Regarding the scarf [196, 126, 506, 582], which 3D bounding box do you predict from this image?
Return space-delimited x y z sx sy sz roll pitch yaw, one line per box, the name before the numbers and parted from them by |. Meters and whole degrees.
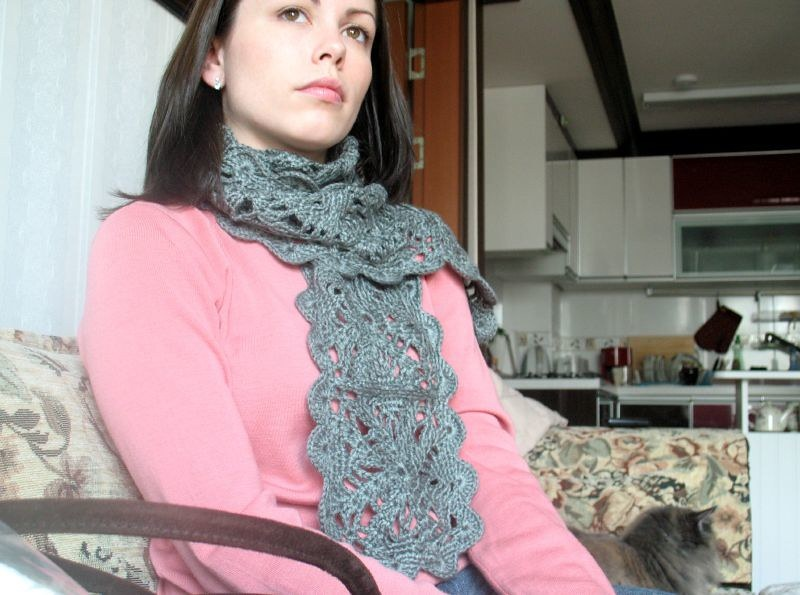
scarf | -0.079 0.085 1.147 0.490 0.807 0.113 21 -43 -34
